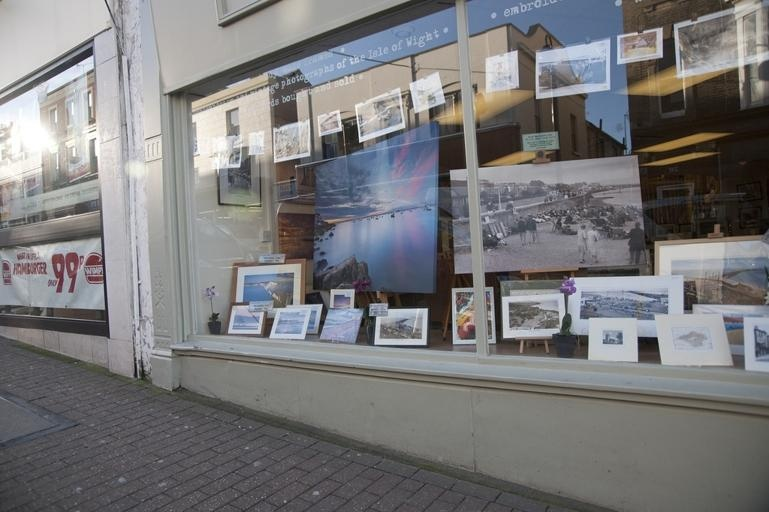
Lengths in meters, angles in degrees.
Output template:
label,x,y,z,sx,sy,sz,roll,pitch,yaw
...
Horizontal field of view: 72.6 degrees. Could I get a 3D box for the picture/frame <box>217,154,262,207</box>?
label,x,y,z,sx,sy,sz,roll,pitch,yaw
picture/frame,-2.064,-1.118,7.428,0.739,0.828,0.045,1,2,9

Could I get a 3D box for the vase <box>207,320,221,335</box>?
label,x,y,z,sx,sy,sz,roll,pitch,yaw
vase,-2.319,0.980,7.146,0.169,0.194,0.173,-2,-7,27

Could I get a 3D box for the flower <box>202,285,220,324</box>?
label,x,y,z,sx,sy,sz,roll,pitch,yaw
flower,-2.403,0.641,7.270,0.166,0.436,0.228,-8,15,-22
